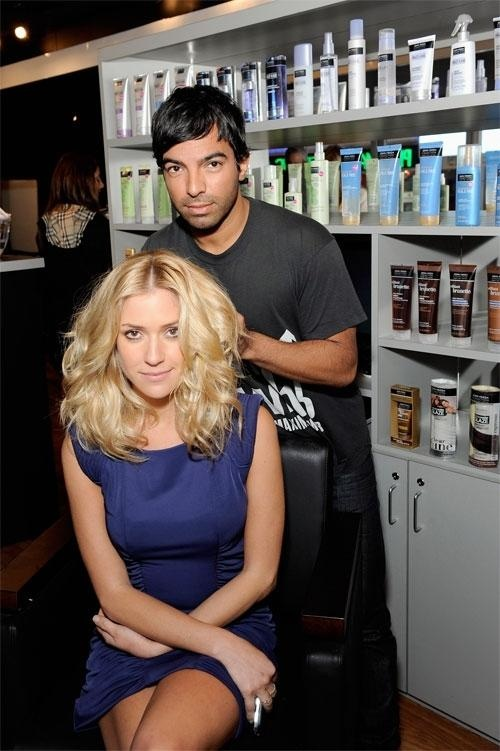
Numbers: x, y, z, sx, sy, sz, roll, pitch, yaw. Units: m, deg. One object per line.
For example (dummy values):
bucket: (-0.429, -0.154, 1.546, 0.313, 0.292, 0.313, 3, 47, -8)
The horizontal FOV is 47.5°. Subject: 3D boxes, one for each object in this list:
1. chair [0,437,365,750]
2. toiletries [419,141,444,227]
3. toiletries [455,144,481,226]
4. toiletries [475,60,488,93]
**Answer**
chair: (-0.116, 0.379, 1.164, 0.524, 0.624, 0.624, -1, -2, 7)
toiletries: (0.395, -0.416, 1.252, 0.041, 0.164, 0.092, 0, 13, 15)
toiletries: (0.469, -0.413, 1.224, 0.045, 0.181, 0.244, 1, 14, 20)
toiletries: (0.500, -0.653, 1.236, 0.017, 0.070, 0.040, 1, 13, 20)
